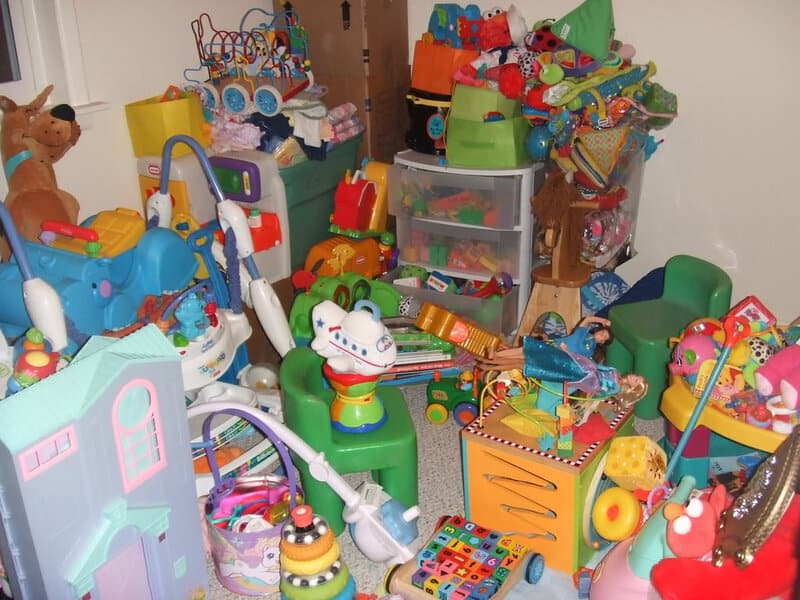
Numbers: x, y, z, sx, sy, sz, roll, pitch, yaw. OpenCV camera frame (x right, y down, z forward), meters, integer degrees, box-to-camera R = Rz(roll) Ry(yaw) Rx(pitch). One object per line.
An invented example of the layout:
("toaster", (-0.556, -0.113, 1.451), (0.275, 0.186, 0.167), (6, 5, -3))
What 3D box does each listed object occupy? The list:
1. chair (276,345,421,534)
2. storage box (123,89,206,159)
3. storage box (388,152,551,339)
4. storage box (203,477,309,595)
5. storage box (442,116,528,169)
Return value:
("chair", (-0.149, 0.412, 2.592), (0.567, 0.753, 0.553), (-7, 30, -6))
("storage box", (-1.011, -0.789, 2.998), (0.329, 0.258, 0.277), (-5, 22, 1))
("storage box", (0.325, -0.454, 3.606), (0.782, 1.058, 0.816), (12, 25, 30))
("storage box", (-0.423, 0.735, 2.255), (0.328, 0.400, 0.348), (2, 13, 1))
("storage box", (0.379, -0.695, 3.027), (0.271, 0.181, 0.275), (10, 30, 20))
